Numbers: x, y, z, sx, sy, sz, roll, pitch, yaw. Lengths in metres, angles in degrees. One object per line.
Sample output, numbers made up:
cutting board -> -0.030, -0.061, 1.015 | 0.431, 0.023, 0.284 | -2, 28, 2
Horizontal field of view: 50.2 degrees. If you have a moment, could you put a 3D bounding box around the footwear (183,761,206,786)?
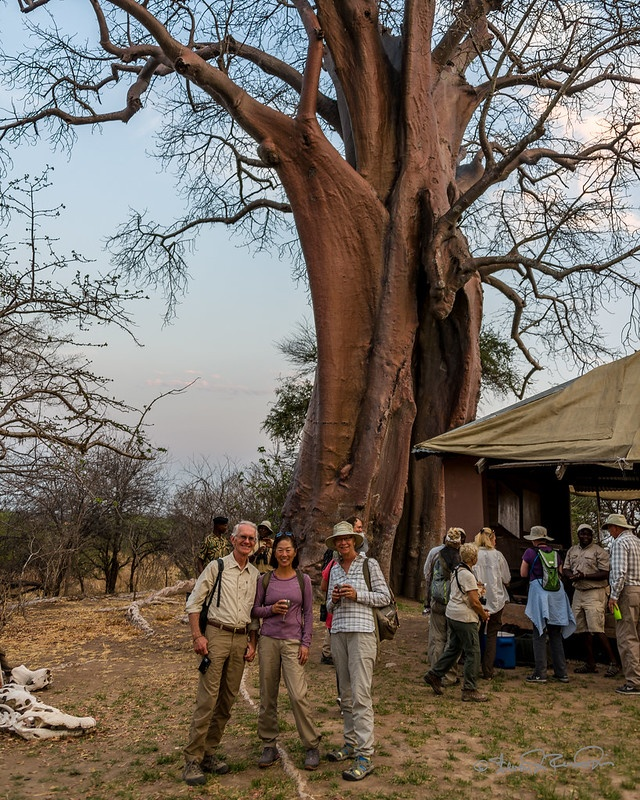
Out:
footwear -> -0.819, 2.445, 4.451 | 0.089, 0.083, 0.180 | 10, -29, -18

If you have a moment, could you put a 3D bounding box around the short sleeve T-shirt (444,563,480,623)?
short sleeve T-shirt -> 1.358, 1.839, 6.514 | 0.301, 0.528, 0.245 | -2, -13, 25

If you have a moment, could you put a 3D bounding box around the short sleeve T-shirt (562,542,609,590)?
short sleeve T-shirt -> 3.114, 1.950, 7.983 | 0.392, 0.611, 0.562 | 26, -28, -28

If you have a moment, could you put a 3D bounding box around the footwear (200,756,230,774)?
footwear -> -0.707, 2.490, 4.676 | 0.226, 0.100, 0.077 | -1, -11, 11

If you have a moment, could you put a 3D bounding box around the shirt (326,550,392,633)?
shirt -> 0.267, 1.441, 5.071 | 0.478, 0.557, 0.324 | -13, -29, 30

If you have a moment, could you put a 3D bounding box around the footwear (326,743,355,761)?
footwear -> 0.121, 2.460, 4.776 | 0.242, 0.110, 0.087 | 9, -22, -25

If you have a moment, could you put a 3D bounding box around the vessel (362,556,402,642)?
vessel -> 0.438, 1.483, 5.142 | 0.281, 0.542, 0.369 | -9, -4, -12

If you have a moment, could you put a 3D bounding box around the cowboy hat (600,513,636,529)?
cowboy hat -> 3.274, 1.329, 7.644 | 0.251, 0.116, 0.296 | -1, -9, -4

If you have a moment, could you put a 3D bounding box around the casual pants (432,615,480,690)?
casual pants -> 1.324, 2.305, 6.634 | 0.432, 1.016, 0.260 | 3, -2, 18

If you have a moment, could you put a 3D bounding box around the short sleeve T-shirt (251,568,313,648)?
short sleeve T-shirt -> -0.286, 1.514, 4.940 | 0.510, 0.574, 0.327 | 1, -31, 3

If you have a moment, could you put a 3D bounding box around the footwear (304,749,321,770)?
footwear -> -0.051, 2.440, 4.655 | 0.103, 0.107, 0.153 | 4, -12, 0

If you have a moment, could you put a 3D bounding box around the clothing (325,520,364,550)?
clothing -> 0.196, 1.004, 5.216 | 0.256, 0.143, 0.273 | -5, -32, 2

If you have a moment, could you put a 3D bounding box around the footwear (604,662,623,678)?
footwear -> 3.384, 3.138, 7.910 | 0.107, 0.127, 0.325 | -28, -39, 27

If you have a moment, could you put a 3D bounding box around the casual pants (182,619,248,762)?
casual pants -> -0.704, 2.011, 4.688 | 0.251, 0.915, 0.463 | -2, -14, 27

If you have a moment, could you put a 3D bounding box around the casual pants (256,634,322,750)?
casual pants -> -0.237, 2.069, 4.807 | 0.455, 0.754, 0.292 | -3, -14, 29

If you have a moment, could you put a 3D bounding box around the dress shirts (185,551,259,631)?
dress shirts -> -0.639, 1.380, 4.903 | 0.599, 0.528, 0.279 | 29, -41, -32

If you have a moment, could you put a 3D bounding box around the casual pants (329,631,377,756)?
casual pants -> 0.251, 2.031, 4.796 | 0.266, 0.794, 0.461 | 8, -13, -18

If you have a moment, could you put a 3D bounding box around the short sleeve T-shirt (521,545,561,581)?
short sleeve T-shirt -> 2.439, 1.817, 7.686 | 0.404, 0.403, 0.398 | 2, -21, 2

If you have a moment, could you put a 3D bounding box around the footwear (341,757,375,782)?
footwear -> 0.250, 2.429, 4.502 | 0.087, 0.127, 0.260 | -12, -21, 40

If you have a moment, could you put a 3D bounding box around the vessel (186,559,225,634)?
vessel -> -0.760, 1.378, 4.765 | 0.259, 0.336, 0.346 | 9, -13, -31
